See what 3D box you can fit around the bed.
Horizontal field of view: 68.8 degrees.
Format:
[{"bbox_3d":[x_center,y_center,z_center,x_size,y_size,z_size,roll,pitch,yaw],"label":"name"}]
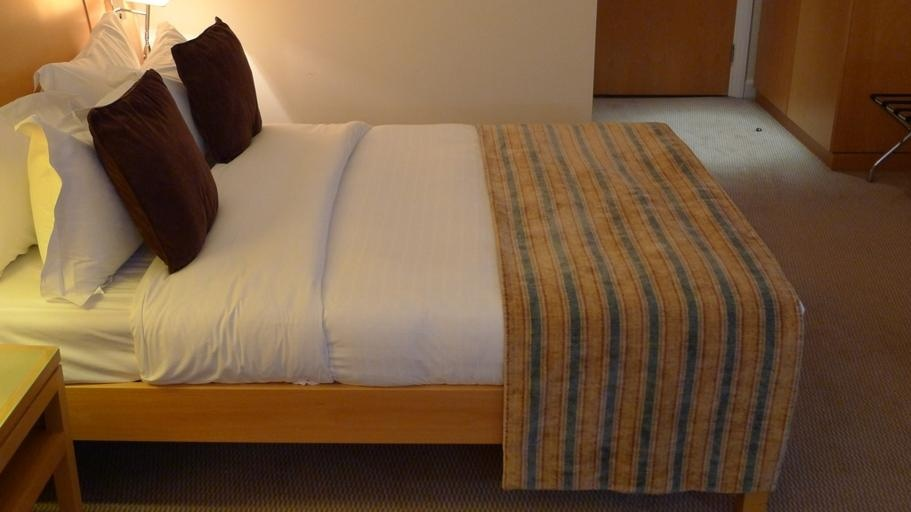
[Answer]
[{"bbox_3d":[-0.089,0.466,3.713,3.157,1.700,2.328,0,45,3],"label":"bed"}]
